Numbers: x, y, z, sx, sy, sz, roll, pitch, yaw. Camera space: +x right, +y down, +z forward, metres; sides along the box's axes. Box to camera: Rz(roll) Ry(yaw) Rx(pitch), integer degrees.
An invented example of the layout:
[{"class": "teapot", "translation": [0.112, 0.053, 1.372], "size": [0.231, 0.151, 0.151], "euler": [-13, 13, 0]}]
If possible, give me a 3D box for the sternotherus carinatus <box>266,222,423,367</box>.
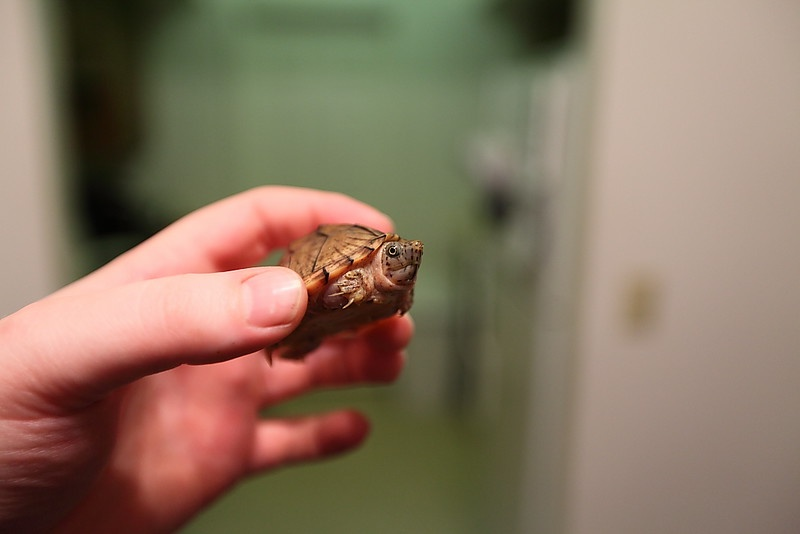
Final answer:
[{"class": "sternotherus carinatus", "translation": [-0.149, 0.056, 1.819], "size": [0.271, 0.408, 0.193], "euler": [28, 31, -43]}]
